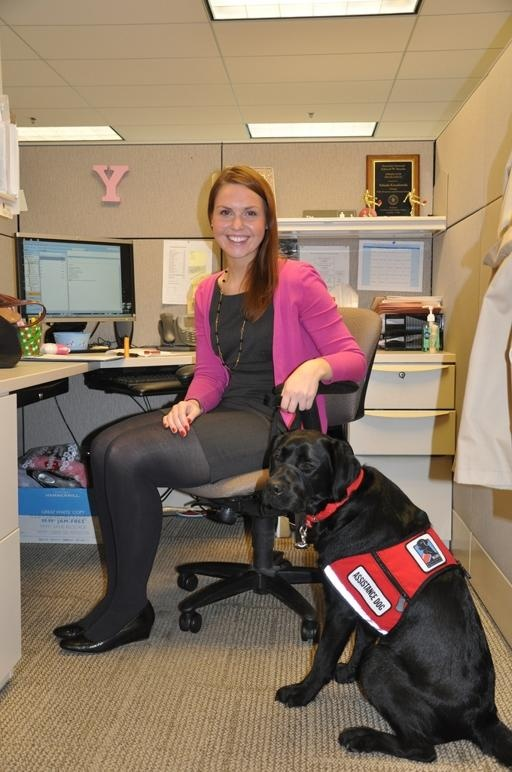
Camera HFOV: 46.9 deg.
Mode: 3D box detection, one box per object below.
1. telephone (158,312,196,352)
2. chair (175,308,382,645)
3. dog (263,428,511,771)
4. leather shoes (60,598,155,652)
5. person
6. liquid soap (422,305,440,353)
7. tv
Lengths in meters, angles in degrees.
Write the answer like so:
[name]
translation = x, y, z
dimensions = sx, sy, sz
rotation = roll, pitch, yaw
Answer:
[telephone]
translation = -0.333, -0.225, 2.474
dimensions = 0.166, 0.169, 0.126
rotation = 1, 6, 6
[chair]
translation = 0.048, 0.201, 1.662
dimensions = 0.511, 0.844, 0.512
rotation = 0, 6, -14
[dog]
translation = 0.219, 0.386, 1.082
dimensions = 0.404, 0.595, 0.311
rotation = 1, 3, 3
[leather shoes]
translation = -0.336, 0.598, 1.473
dimensions = 0.279, 0.121, 0.094
rotation = 2, 0, -22
[person]
translation = -0.087, 0.078, 2.145
dimensions = 1.087, 1.924, 0.943
rotation = 3, -3, -23
[liquid soap]
translation = 0.674, -0.217, 2.295
dimensions = 0.061, 0.176, 0.093
rotation = 2, 3, 25
[tv]
translation = -0.659, -0.342, 2.151
dimensions = 0.161, 0.399, 0.541
rotation = 4, 6, 40
